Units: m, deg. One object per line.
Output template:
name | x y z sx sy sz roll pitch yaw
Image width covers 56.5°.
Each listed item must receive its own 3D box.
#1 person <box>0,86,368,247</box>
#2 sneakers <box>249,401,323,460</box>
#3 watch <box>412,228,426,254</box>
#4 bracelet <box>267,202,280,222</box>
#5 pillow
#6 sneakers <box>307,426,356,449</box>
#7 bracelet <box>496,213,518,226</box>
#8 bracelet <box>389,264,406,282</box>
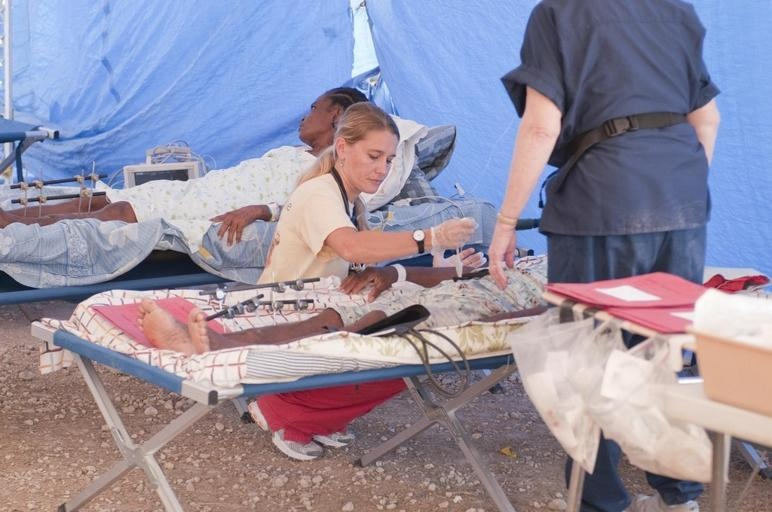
person | -1.092 -0.405 4.052 1.808 0.586 0.968 -7 19 -14
sneakers | -0.416 0.736 3.030 0.319 0.141 0.113 28 29 18
watch | 0.129 -0.059 2.796 0.054 0.074 0.076 2 -26 3
bracelet | -0.627 -0.247 3.986 0.086 0.072 0.098 0 7 -9
pillow | 0.081 -0.540 4.279 0.181 0.572 0.545 29 -10 8
sneakers | -0.247 0.795 3.139 0.196 0.081 0.070 5 6 -16
bracelet | 0.432 -0.123 2.546 0.054 0.020 0.051 18 -3 -18
bracelet | 0.046 0.078 3.379 0.059 0.070 0.073 -7 20 -20
